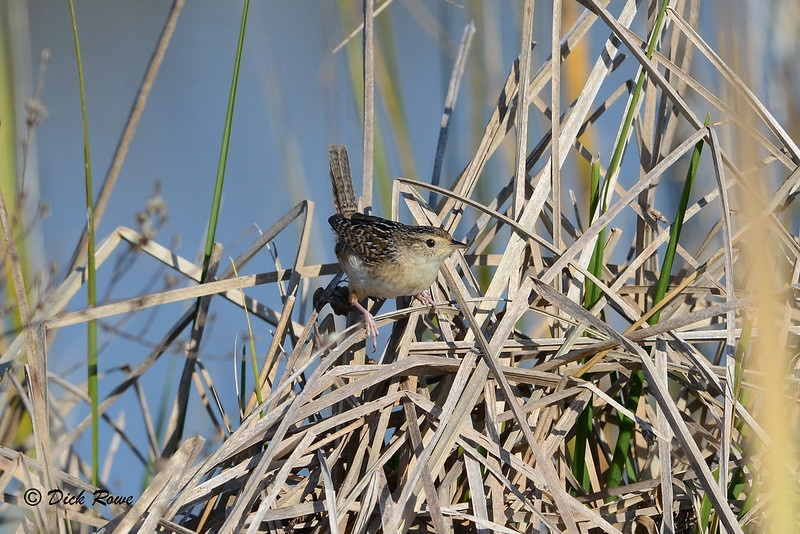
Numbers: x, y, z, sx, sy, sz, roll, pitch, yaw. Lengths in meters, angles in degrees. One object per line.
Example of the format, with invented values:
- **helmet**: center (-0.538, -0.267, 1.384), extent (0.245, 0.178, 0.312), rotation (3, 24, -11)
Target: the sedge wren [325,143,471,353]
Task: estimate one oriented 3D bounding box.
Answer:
- **sedge wren**: center (-0.136, -0.117, 6.740), extent (0.552, 0.792, 1.237), rotation (1, 27, -42)
